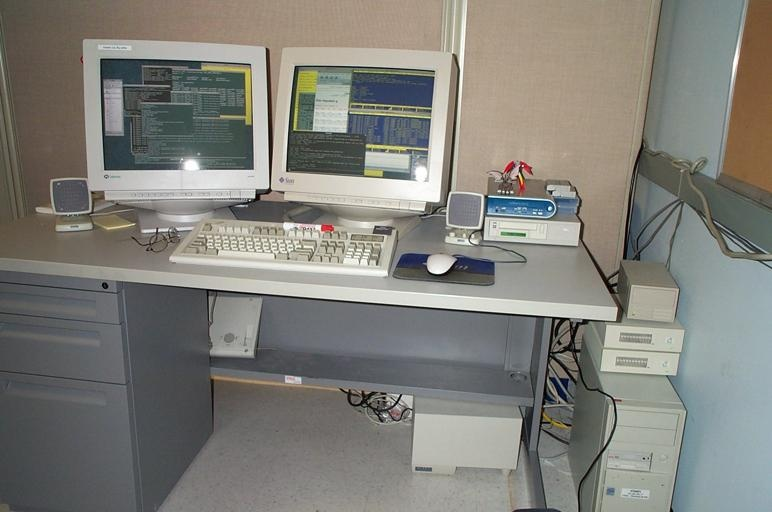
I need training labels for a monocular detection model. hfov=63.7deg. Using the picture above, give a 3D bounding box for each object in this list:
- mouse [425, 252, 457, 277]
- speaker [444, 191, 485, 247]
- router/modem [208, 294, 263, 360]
[{"bbox_3d":[0.195,0.033,2.190,0.110,0.063,0.079,1,14,5],"label":"mouse"},{"bbox_3d":[0.316,-0.160,2.465,0.182,0.239,0.199,4,23,10],"label":"speaker"},{"bbox_3d":[-0.697,0.329,2.867,0.255,0.267,0.061,0,-18,-3],"label":"router/modem"}]
